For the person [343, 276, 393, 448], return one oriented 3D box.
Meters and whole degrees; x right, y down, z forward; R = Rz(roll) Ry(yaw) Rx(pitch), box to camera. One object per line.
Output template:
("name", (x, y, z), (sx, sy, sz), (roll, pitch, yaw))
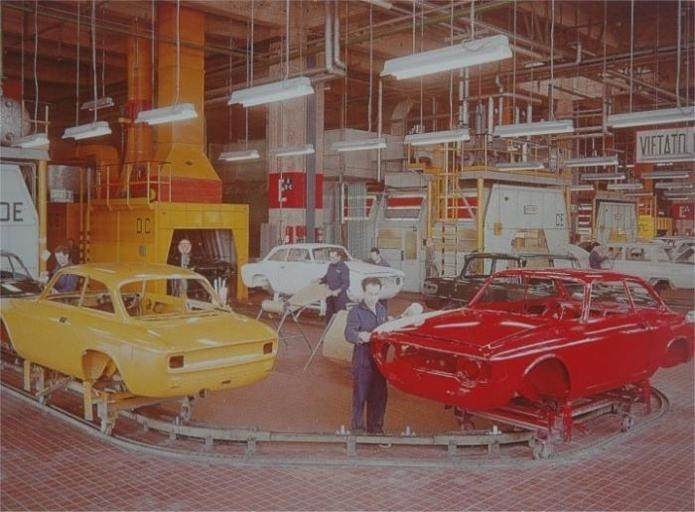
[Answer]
("person", (0.297, 1.430, 9.897), (0.634, 2.232, 0.453), (-2, 4, -23))
